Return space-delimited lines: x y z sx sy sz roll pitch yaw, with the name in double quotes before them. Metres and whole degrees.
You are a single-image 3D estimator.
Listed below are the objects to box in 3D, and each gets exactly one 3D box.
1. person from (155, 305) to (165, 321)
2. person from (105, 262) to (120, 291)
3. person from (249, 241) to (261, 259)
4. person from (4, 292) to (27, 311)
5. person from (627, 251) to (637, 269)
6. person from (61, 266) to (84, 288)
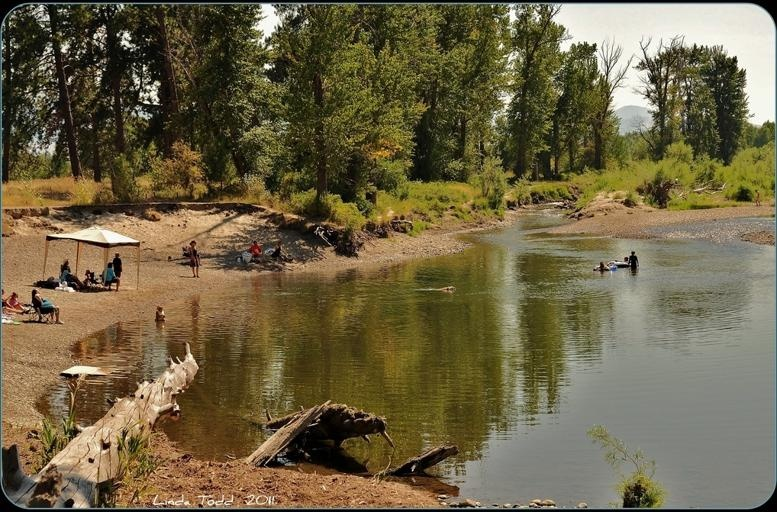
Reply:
"person" -12.880 3.201 52.285 0.496 0.772 1.676 -1 1 -13
"person" -17.109 1.283 57.103 0.850 1.626 0.878 -1 1 -4
"person" -9.686 -0.428 66.922 1.050 1.586 0.901 0 19 -4
"person" -20.433 2.511 50.372 1.217 0.615 0.862 0 5 -5
"person" 17.154 0.287 64.694 0.619 1.201 1.774 0 1 15
"person" -19.225 1.130 55.838 0.660 1.720 1.322 0 1 40
